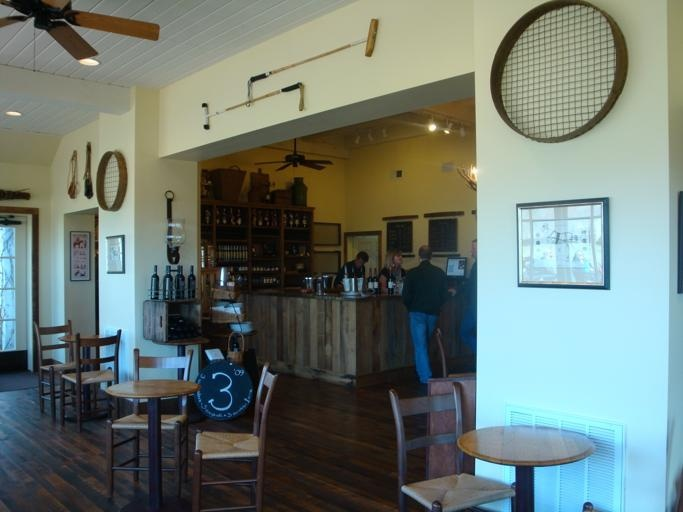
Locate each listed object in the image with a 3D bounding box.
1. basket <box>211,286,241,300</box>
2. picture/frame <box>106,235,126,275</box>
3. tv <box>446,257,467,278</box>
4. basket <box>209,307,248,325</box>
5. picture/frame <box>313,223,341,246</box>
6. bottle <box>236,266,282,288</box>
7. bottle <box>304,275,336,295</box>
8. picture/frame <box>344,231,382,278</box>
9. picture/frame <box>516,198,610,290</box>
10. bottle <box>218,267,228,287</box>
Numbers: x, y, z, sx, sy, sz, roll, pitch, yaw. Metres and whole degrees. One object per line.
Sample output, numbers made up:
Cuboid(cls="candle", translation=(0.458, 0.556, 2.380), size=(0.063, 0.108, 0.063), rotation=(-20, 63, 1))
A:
Cuboid(cls="basket", translation=(-1.334, 0.431, 6.423), size=(0.316, 0.156, 0.186), rotation=(-2, 0, 27))
Cuboid(cls="picture/frame", translation=(-2.831, -0.014, 7.012), size=(0.036, 0.514, 0.497), rotation=(-1, 1, -44))
Cuboid(cls="tv", translation=(2.066, 0.209, 10.023), size=(0.323, 0.395, 0.401), rotation=(4, -4, -42))
Cuboid(cls="basket", translation=(-1.285, 0.670, 6.506), size=(0.251, 0.145, 0.256), rotation=(1, 1, 20))
Cuboid(cls="picture/frame", translation=(-0.331, -0.462, 11.775), size=(0.489, 0.342, 0.033), rotation=(2, -4, -43))
Cuboid(cls="bottle", translation=(-1.505, 0.397, 10.386), size=(0.311, 0.416, 0.893), rotation=(-2, 0, 36))
Cuboid(cls="bottle", translation=(-0.354, 0.442, 8.379), size=(0.305, 0.210, 0.579), rotation=(1, 0, 22))
Cuboid(cls="picture/frame", translation=(0.517, 0.058, 12.008), size=(0.808, 1.494, 0.102), rotation=(-2, 39, 6))
Cuboid(cls="picture/frame", translation=(1.464, -0.081, 3.617), size=(0.581, 0.632, 0.029), rotation=(1, 1, 36))
Cuboid(cls="bottle", translation=(-1.350, 0.238, 6.414), size=(0.139, 0.221, 0.100), rotation=(-2, 0, 5))
